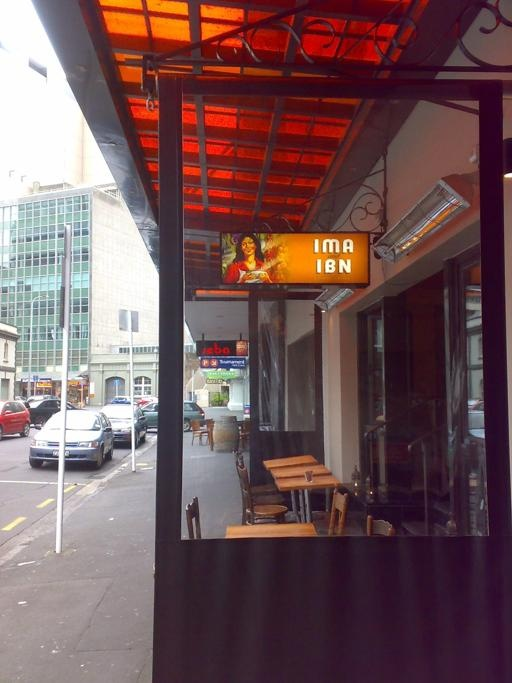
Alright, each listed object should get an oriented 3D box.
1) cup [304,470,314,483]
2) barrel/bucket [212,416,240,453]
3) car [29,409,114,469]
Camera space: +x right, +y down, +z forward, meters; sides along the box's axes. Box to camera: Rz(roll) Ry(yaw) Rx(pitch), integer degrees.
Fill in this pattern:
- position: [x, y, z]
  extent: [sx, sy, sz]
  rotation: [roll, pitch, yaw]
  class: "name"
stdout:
- position: [0.401, 1.025, 4.283]
  extent: [0.057, 0.075, 0.063]
  rotation: [1, -9, -3]
  class: "cup"
- position: [-0.197, 0.632, 3.916]
  extent: [0.182, 0.198, 0.194]
  rotation: [-1, -8, 0]
  class: "barrel/bucket"
- position: [-4.184, 2.229, 12.813]
  extent: [1.452, 1.229, 1.919]
  rotation: [-1, -5, -2]
  class: "car"
